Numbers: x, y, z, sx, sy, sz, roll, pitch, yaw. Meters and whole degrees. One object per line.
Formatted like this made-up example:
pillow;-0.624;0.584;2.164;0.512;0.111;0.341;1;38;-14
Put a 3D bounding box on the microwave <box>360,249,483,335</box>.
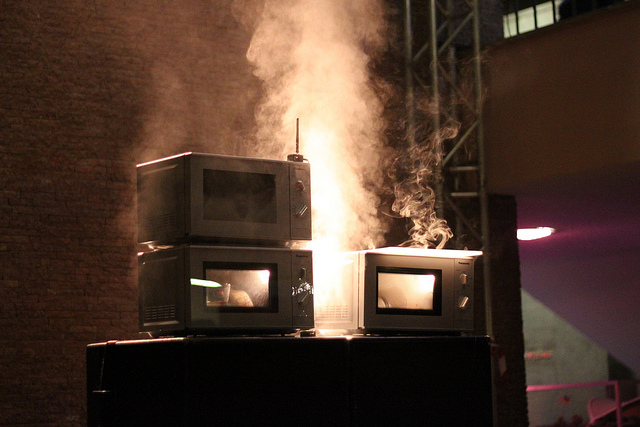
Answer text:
microwave;0.654;0.632;5.962;0.993;0.673;0.608;3;-9;-20
